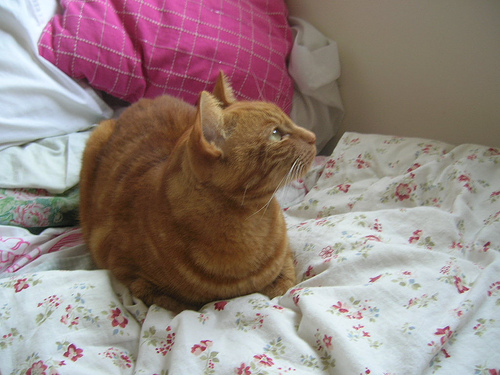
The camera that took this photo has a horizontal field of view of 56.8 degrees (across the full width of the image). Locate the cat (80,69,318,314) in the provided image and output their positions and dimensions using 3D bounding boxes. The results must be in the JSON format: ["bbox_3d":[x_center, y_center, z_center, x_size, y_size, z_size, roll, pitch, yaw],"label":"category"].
[{"bbox_3d":[-0.253,-0.049,1.543,0.509,0.649,0.877,-19,44,-21],"label":"cat"}]
